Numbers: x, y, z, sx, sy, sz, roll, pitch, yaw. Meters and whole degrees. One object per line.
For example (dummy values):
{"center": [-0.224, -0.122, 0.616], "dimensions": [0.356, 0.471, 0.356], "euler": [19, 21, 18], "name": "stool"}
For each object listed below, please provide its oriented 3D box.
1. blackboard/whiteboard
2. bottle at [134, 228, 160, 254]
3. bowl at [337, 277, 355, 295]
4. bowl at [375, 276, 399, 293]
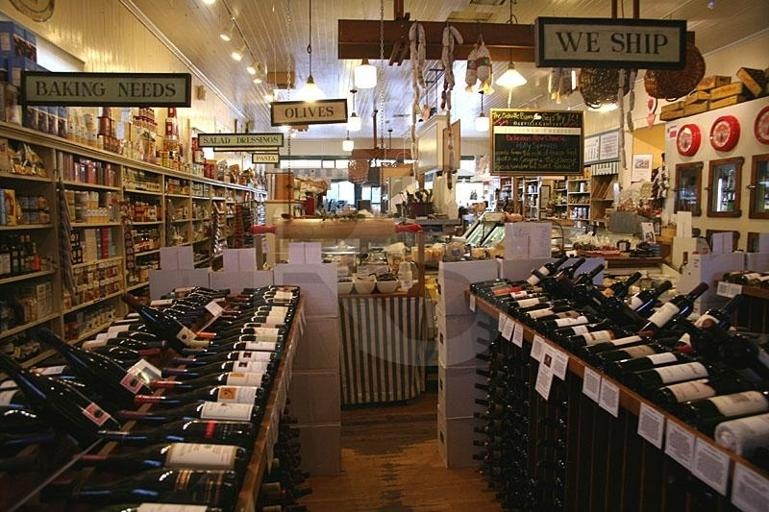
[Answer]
{"center": [1.772, -1.330, 6.383], "dimensions": [0.788, 0.547, 0.077], "euler": [0, -2, 0], "name": "blackboard/whiteboard"}
{"center": [-3.414, -0.241, 7.931], "dimensions": [0.377, 0.351, 0.356], "euler": [-5, 11, -30], "name": "bottle"}
{"center": [-0.373, 0.289, 5.246], "dimensions": [0.230, 0.145, 0.327], "euler": [0, 1, -2], "name": "bowl"}
{"center": [0.025, 0.276, 5.357], "dimensions": [0.160, 0.082, 0.136], "euler": [-1, 2, 34], "name": "bowl"}
